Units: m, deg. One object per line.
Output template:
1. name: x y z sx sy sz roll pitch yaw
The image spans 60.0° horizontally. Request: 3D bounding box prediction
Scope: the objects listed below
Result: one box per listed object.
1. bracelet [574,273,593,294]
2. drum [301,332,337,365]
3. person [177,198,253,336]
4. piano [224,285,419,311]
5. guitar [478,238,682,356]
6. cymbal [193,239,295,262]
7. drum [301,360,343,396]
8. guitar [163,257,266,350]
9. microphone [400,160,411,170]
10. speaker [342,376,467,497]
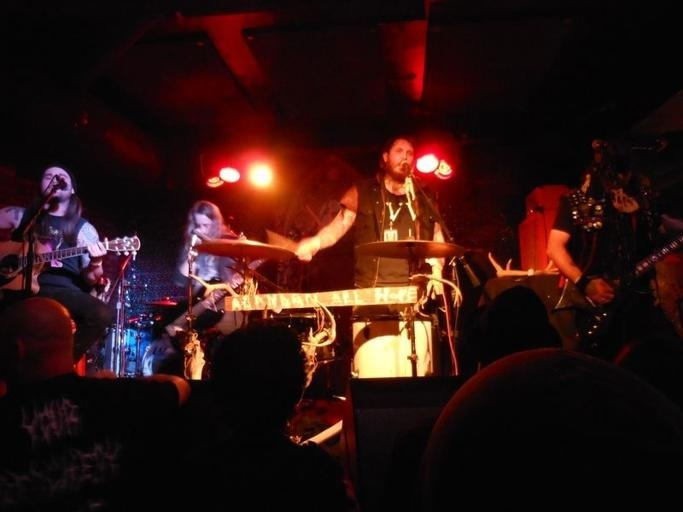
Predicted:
1. bracelet: 2.025 0.231 4.953 0.057 0.130 0.129 30 -31 5
2. drum: -0.190 0.833 5.151 0.258 0.200 0.477 5 -14 10
3. person: -1.647 0.351 7.268 0.855 2.098 0.638 -2 15 1
4. piano: -0.165 0.340 4.734 1.578 0.185 0.245 -5 -17 14
5. guitar: 1.948 0.328 4.584 0.392 1.012 0.139 46 2 10
6. cymbal: -0.798 -0.050 5.113 0.745 0.077 0.618 -8 -18 23
7. drum: -0.141 1.244 5.896 0.391 0.426 0.377 3 -8 -30
8. guitar: -1.365 0.459 6.297 0.348 1.233 0.885 27 -8 -29
9. microphone: 0.568 -0.802 5.205 0.089 0.033 0.123 5 20 5
10. speaker: 0.307 0.885 3.193 0.665 0.665 0.481 2 -8 -6
